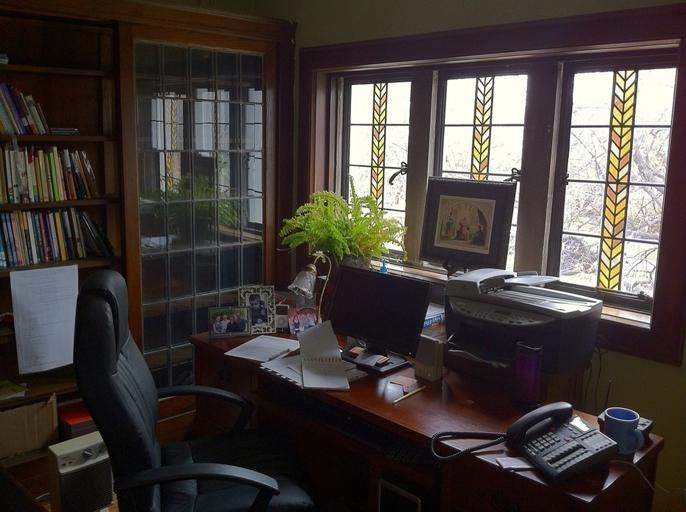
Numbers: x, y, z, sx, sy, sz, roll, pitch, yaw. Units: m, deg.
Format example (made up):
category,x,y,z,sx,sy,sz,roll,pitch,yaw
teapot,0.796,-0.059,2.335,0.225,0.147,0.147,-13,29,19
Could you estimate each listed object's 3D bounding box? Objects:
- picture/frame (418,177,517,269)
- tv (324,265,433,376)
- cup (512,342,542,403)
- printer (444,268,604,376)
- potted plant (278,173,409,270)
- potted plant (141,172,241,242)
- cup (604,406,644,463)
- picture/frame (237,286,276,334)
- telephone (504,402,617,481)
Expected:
category,x,y,z,sx,sy,sz,roll,pitch,yaw
picture/frame,0.698,-0.181,2.794,0.437,0.441,0.130,14,8,42
tv,0.172,0.339,2.498,0.442,0.388,0.207,11,7,38
cup,0.767,0.500,2.110,0.105,0.252,0.061,6,11,15
printer,0.853,0.127,2.306,0.435,0.398,0.616,-6,11,-40
potted plant,-0.002,-0.164,2.895,0.593,0.372,0.598,-3,7,-25
potted plant,-1.000,-0.304,3.393,0.429,0.357,0.498,1,-1,36
cup,1.020,0.662,1.892,0.103,0.161,0.180,-2,14,-8
picture/frame,-0.491,0.317,2.873,0.237,0.327,0.025,-1,-6,-15
telephone,0.769,0.670,1.795,0.254,0.106,0.239,-16,29,-23
